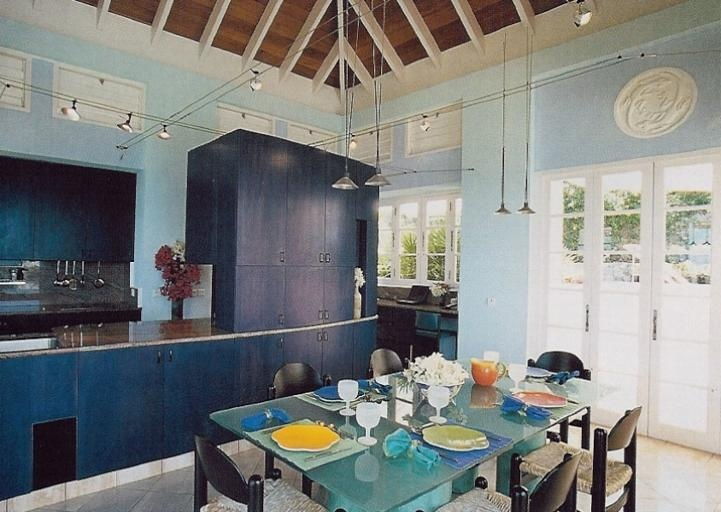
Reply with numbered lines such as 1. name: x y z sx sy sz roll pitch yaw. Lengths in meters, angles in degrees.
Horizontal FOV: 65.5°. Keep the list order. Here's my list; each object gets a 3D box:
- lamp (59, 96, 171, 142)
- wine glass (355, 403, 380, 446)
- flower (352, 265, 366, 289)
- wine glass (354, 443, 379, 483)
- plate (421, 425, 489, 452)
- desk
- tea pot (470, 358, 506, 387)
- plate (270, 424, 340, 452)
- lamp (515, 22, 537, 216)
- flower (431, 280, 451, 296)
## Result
1. lamp: -3.124 -1.706 6.964 1.179 0.317 0.285 23 12 -1
2. wine glass: 0.056 1.218 4.166 0.167 0.326 0.281 0 0 0
3. flower: -0.004 0.236 6.769 0.203 0.222 0.214 -2 -4 7
4. wine glass: 0.041 1.453 3.918 0.172 0.144 0.285 0 0 1
5. plate: 0.696 1.339 4.128 0.481 0.117 0.241 0 0 9
6. desk: 0.701 1.188 8.090 1.278 0.791 0.433 9 -20 -11
7. tea pot: 1.131 1.021 4.980 0.292 0.204 0.221 2 -3 15
8. plate: -0.407 1.335 4.119 0.386 0.126 0.393 0 0 -44
9. lamp: 2.048 -1.640 6.824 0.123 2.261 0.281 0 0 13
10. flower: 1.159 0.464 8.146 0.212 0.209 0.210 3 -5 -7
